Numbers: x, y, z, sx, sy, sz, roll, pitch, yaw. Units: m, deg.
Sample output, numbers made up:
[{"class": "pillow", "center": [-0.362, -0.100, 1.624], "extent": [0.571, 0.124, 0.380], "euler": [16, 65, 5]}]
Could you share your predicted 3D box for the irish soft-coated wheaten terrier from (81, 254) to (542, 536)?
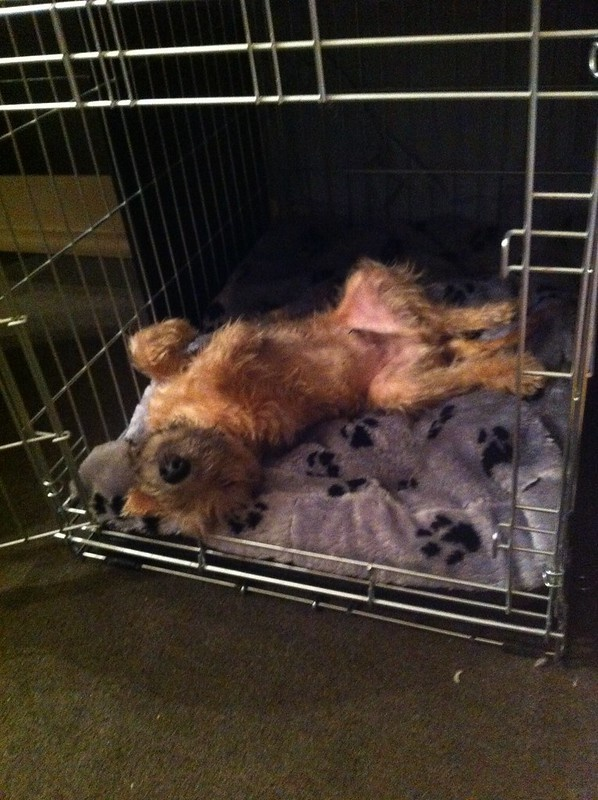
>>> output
[{"class": "irish soft-coated wheaten terrier", "center": [-0.007, -0.031, 1.235], "extent": [0.753, 0.395, 0.233], "euler": [-6, 8, 36]}]
